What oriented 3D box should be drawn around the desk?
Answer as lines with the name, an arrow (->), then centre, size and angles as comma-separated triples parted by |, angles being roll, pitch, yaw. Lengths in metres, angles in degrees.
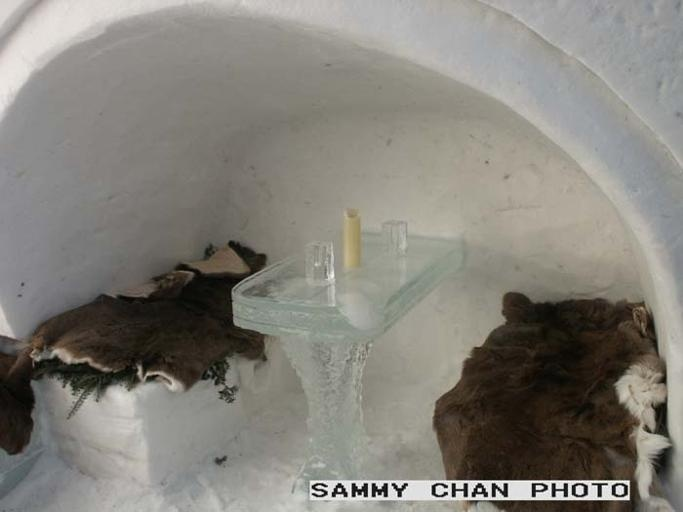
desk -> 0.101, 0.383, 3.483 | 0.577, 0.937, 1.065 | 12, 30, 30

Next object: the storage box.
storage box -> -0.691, 0.699, 3.484 | 0.619, 0.254, 0.595 | 5, 13, 43
